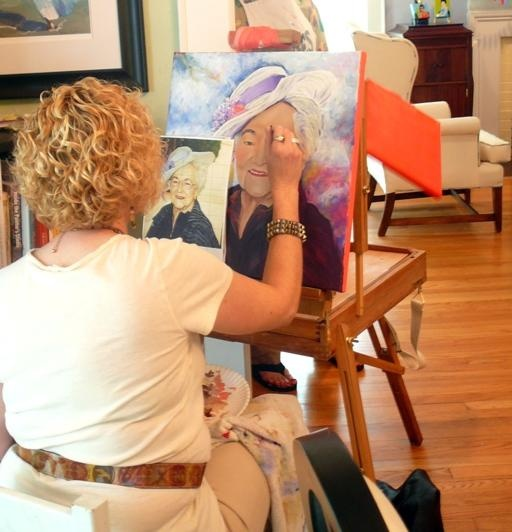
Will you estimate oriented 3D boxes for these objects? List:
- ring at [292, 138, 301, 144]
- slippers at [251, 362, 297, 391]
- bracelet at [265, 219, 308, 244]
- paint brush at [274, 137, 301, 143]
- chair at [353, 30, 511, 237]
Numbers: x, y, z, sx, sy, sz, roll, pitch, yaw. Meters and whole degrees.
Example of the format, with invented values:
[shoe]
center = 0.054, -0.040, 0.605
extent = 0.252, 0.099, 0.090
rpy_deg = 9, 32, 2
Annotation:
[ring]
center = 0.085, -0.268, 1.128
extent = 0.022, 0.009, 0.022
rpy_deg = 1, 5, 0
[slippers]
center = 0.075, 0.479, 2.250
extent = 0.079, 0.060, 0.210
rpy_deg = -20, 25, -36
[bracelet]
center = 0.059, -0.070, 1.032
extent = 0.115, 0.036, 0.110
rpy_deg = 0, -12, 8
[paint brush]
center = 0.063, -0.268, 1.105
extent = 0.029, 0.007, 0.028
rpy_deg = 3, 4, 8
[chair]
center = 1.539, -1.361, 4.948
extent = 1.221, 1.652, 2.622
rpy_deg = 0, 18, 10
